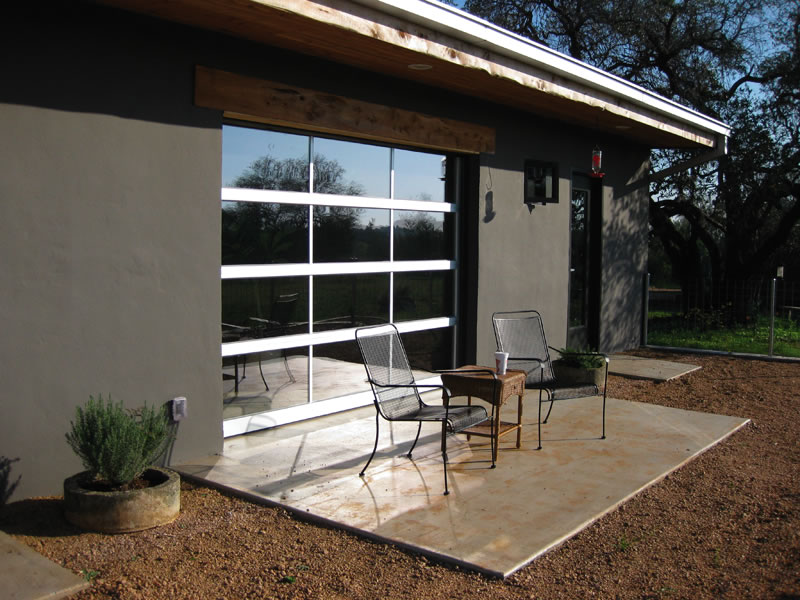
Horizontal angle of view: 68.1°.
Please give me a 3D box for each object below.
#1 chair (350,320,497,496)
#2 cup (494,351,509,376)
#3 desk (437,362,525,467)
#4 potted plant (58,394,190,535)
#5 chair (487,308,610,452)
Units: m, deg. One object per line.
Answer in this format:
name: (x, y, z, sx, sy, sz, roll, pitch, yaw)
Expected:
chair: (0.173, 0.861, 4.955, 0.997, 1.249, 0.878, -3, -1, 38)
cup: (0.844, 0.531, 4.926, 0.093, 0.197, 0.223, 2, 6, 9)
desk: (0.664, 0.980, 5.210, 0.744, 0.987, 0.814, 2, 3, 40)
potted plant: (-1.837, 1.025, 4.103, 0.845, 0.929, 0.801, 1, 3, -34)
chair: (1.448, 0.797, 5.969, 1.138, 1.250, 1.054, 2, 3, 39)
